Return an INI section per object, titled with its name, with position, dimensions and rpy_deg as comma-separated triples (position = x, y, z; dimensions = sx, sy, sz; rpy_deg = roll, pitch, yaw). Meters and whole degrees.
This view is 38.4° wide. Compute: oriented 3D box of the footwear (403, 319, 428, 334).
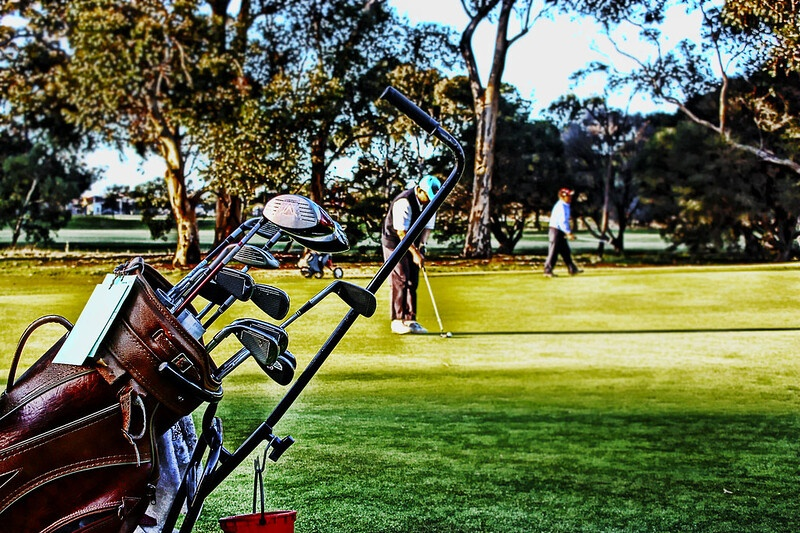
[footwear]
position = 0.327, 1.104, 21.352
dimensions = 0.207, 0.162, 0.387
rpy_deg = 2, 4, -39

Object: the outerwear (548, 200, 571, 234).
[outerwear]
position = 3.986, -1.250, 28.383
dimensions = 0.578, 0.867, 0.404
rpy_deg = 0, 1, 25
